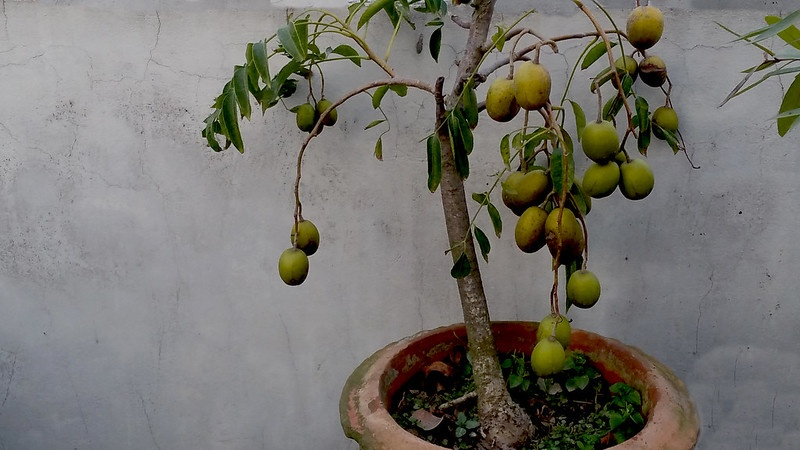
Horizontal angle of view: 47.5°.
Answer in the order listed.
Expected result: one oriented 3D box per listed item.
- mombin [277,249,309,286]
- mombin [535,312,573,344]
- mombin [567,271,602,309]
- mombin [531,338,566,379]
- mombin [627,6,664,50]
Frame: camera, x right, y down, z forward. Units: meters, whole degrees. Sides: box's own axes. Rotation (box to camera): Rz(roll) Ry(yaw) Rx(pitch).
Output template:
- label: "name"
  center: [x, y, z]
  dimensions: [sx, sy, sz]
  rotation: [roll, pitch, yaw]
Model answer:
- label: "mombin"
  center: [-0.388, 0.151, 3.425]
  dimensions: [0.127, 0.154, 0.127]
  rotation: [-4, 8, 4]
- label: "mombin"
  center: [0.537, 0.357, 3.202]
  dimensions: [0.108, 0.128, 0.108]
  rotation: [2, 10, 13]
- label: "mombin"
  center: [0.632, 0.232, 3.246]
  dimensions: [0.130, 0.151, 0.125]
  rotation: [-2, -5, 8]
- label: "mombin"
  center: [0.514, 0.476, 3.206]
  dimensions: [0.125, 0.140, 0.120]
  rotation: [2, 6, 19]
- label: "mombin"
  center: [0.868, -0.716, 3.291]
  dimensions: [0.114, 0.152, 0.130]
  rotation: [0, 8, -8]
